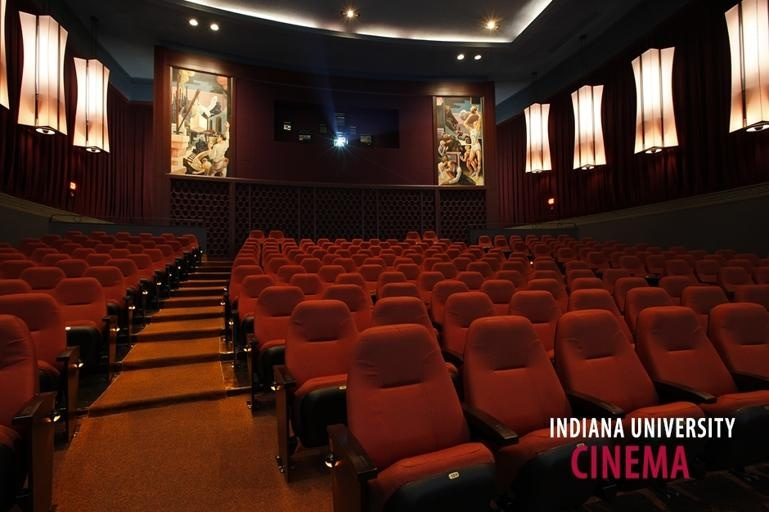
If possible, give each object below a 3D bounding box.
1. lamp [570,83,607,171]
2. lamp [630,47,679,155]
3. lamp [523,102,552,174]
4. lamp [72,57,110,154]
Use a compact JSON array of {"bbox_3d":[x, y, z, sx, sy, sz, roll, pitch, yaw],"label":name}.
[{"bbox_3d":[4.979,-3.192,12.203,0.363,1.943,0.717,-3,2,-37],"label":"lamp"},{"bbox_3d":[5.784,-3.348,10.675,0.810,2.107,0.354,-1,2,31],"label":"lamp"},{"bbox_3d":[4.051,-3.167,13.153,0.586,1.762,0.434,-1,2,15],"label":"lamp"},{"bbox_3d":[-6.363,-3.372,10.792,0.446,1.500,0.674,-1,2,12],"label":"lamp"}]
